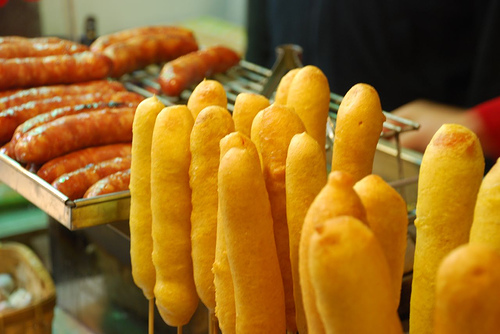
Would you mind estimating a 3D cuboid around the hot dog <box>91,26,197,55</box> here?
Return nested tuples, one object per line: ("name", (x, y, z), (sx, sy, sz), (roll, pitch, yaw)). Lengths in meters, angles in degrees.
("hot dog", (-0.363, -0.451, 1.707), (0.388, 0.128, 0.192), (-9, 9, -20))

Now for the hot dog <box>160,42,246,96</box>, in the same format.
("hot dog", (-0.155, -0.324, 1.567), (0.123, 0.123, 0.380), (4, 19, 38))

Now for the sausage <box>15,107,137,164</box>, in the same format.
("sausage", (-0.390, -0.079, 1.079), (0.072, 0.092, 0.318), (0, 16, 33))

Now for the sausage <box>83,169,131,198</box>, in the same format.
("sausage", (-0.281, 0.031, 0.926), (0.089, 0.023, 0.091), (-9, 34, -12))

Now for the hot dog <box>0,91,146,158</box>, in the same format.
("hot dog", (-0.416, -0.099, 1.139), (0.147, 0.086, 0.303), (-3, 16, 44))

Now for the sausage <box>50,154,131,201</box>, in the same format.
("sausage", (-0.309, 0.008, 1.006), (0.057, 0.066, 0.223), (17, 20, 35))
